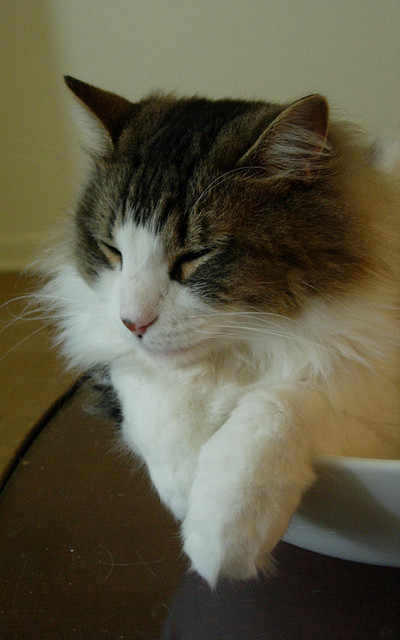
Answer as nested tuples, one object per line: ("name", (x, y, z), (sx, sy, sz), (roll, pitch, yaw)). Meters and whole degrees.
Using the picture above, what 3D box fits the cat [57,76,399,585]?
("cat", (0.044, -0.012, 0.785), (0.402, 0.321, 0.534), (2, 37, 13))
